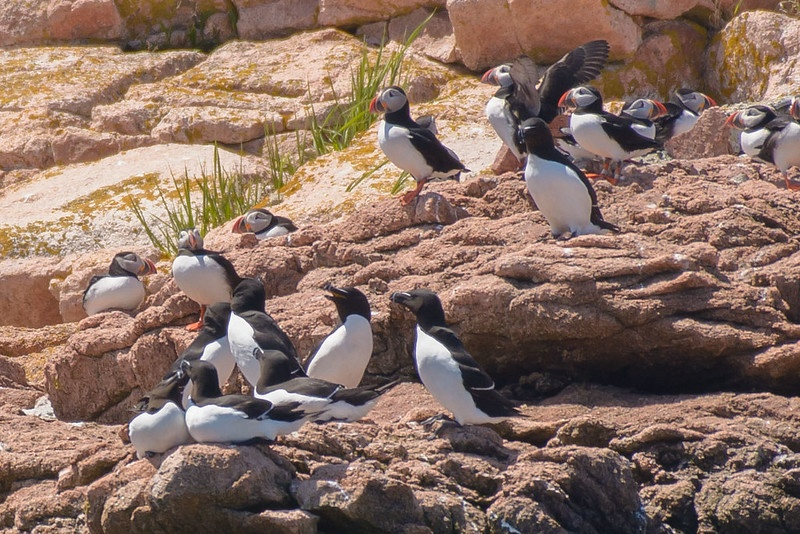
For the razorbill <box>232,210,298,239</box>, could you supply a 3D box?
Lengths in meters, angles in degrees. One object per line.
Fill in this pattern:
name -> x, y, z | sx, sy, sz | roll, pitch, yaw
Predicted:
razorbill -> -2.286, -0.723, 28.214 | 0.776, 0.275, 0.578 | 6, 10, 5
